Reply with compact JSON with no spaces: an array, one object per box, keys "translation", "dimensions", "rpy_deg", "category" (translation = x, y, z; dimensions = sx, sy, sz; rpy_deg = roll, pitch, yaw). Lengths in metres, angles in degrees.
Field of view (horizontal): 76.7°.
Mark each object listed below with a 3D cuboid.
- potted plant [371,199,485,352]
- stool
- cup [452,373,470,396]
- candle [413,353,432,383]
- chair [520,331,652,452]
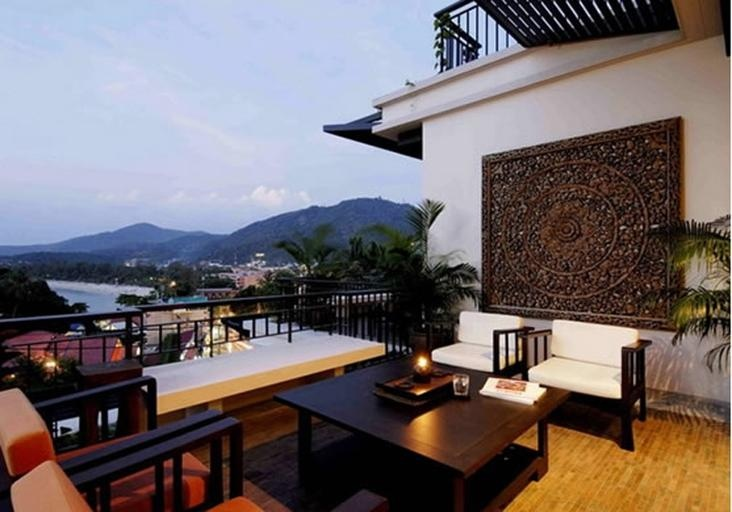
[{"translation":[0.780,0.311,7.450],"dimensions":[1.837,2.484,1.954],"rpy_deg":[3,-7,-11],"category":"potted plant"},{"translation":[-2.231,1.186,4.163],"dimensions":[0.554,0.737,0.735],"rpy_deg":[6,-9,-37],"category":"stool"},{"translation":[0.854,1.168,4.217],"dimensions":[0.165,0.180,0.165],"rpy_deg":[0,-9,0],"category":"cup"},{"translation":[0.553,1.058,4.405],"dimensions":[0.195,0.222,0.194],"rpy_deg":[4,-6,-16],"category":"candle"},{"translation":[2.387,1.162,4.959],"dimensions":[1.124,1.284,1.298],"rpy_deg":[3,-5,-41],"category":"chair"}]
